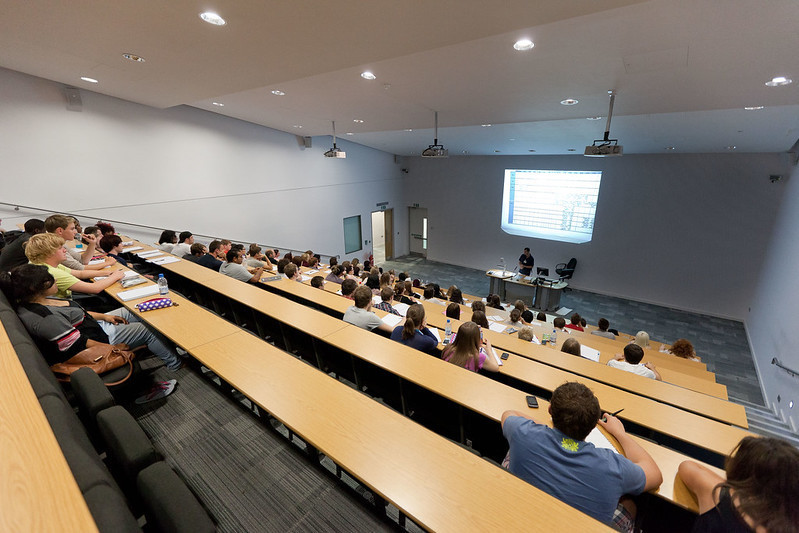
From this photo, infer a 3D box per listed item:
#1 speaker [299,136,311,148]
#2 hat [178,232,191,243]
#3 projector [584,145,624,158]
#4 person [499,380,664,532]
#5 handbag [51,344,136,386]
[{"bbox_3d":[-2.302,-3.055,10.367,0.264,0.234,0.220,18,22,34],"label":"speaker"},{"bbox_3d":[-3.716,-0.528,7.382,0.216,0.244,0.187,-9,19,-44],"label":"hat"},{"bbox_3d":[3.148,-1.800,6.495,0.501,0.130,0.283,11,10,35],"label":"projector"},{"bbox_3d":[1.275,1.349,3.137,0.997,0.939,0.350,9,10,27],"label":"person"},{"bbox_3d":[-2.691,0.889,3.790,0.338,0.154,0.485,35,21,23],"label":"handbag"}]
